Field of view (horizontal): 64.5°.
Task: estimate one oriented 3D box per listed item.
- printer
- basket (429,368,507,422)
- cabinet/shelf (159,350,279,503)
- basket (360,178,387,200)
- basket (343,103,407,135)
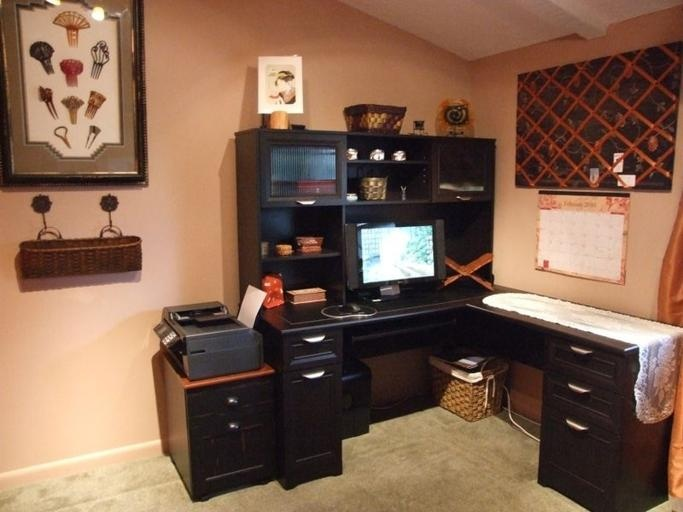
[{"bbox_3d":[-0.809,0.522,3.415,0.487,0.254,0.504,-6,15,-31],"label":"printer"},{"bbox_3d":[1.012,1.065,4.383,0.344,0.321,0.459,-3,6,-32],"label":"basket"},{"bbox_3d":[-0.820,1.060,3.623,0.555,0.881,0.904,-3,4,-27],"label":"cabinet/shelf"},{"bbox_3d":[0.235,-0.494,4.019,0.172,0.129,0.172,-1,9,-10],"label":"basket"},{"bbox_3d":[0.257,-0.961,4.031,0.333,0.164,0.269,-2,7,-24],"label":"basket"}]
